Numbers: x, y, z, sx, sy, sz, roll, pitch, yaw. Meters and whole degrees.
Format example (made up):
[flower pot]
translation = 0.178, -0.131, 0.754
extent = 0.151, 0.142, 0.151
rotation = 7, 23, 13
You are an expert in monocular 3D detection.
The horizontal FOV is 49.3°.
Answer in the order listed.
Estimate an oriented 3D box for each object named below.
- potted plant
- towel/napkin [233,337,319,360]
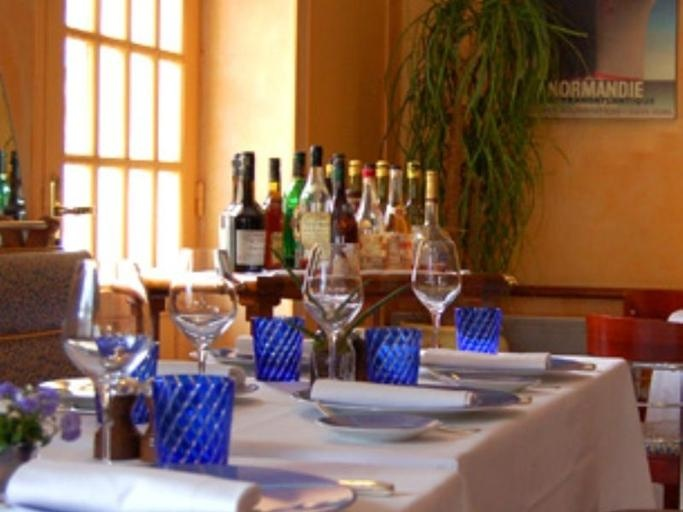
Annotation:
[potted plant]
translation = -0.005, 0.067, 1.120
extent = 0.159, 0.195, 0.186
rotation = 3, 2, 9
[towel/napkin]
translation = -0.131, 0.168, 1.372
extent = 0.077, 0.023, 0.092
rotation = 2, 0, 3
